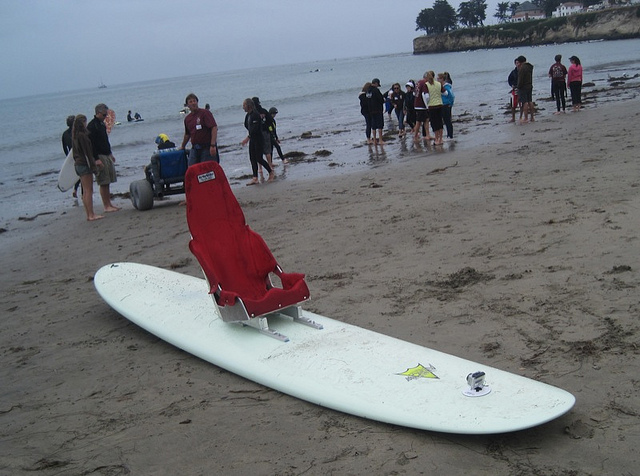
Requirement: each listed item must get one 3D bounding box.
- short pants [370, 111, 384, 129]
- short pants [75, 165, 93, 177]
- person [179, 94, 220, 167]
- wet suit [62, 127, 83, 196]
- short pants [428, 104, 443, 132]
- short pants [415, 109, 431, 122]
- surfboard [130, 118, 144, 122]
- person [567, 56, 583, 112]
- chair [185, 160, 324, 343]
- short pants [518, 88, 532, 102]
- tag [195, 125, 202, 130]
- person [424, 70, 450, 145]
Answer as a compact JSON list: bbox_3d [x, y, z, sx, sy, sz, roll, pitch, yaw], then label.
[{"bbox_3d":[1.541,-3.285,16.543,0.331,0.520,0.550,-8,15,6],"label":"short pants"},{"bbox_3d":[-4.573,-1.336,11.692,0.266,0.180,0.186,-1,36,-6],"label":"short pants"},{"bbox_3d":[-2.301,-2.065,11.438,0.727,1.361,1.550,-12,15,-9],"label":"person"},{"bbox_3d":[-5.237,-1.648,12.854,0.416,2.029,0.238,-21,-21,39],"label":"wet suit"},{"bbox_3d":[2.910,-3.066,15.212,0.365,0.674,0.415,-5,15,15],"label":"short pants"},{"bbox_3d":[2.719,-3.335,16.213,0.281,0.363,0.348,-6,15,14],"label":"short pants"},{"bbox_3d":[-12.531,-8.267,41.769,0.757,0.193,1.609,-13,15,-13],"label":"surfboard"},{"bbox_3d":[7.226,-4.459,17.254,0.373,1.531,1.230,-3,16,22],"label":"person"},{"bbox_3d":[-0.823,0.125,6.795,1.206,1.629,1.712,-14,23,-41],"label":"chair"},{"bbox_3d":[5.485,-3.905,16.281,0.391,0.476,0.282,-4,20,-7],"label":"short pants"},{"bbox_3d":[-2.264,-2.106,11.308,0.096,0.088,0.023,-2,5,-1],"label":"tag"},{"bbox_3d":[2.901,-3.286,15.076,0.543,1.838,1.091,-8,15,5],"label":"person"}]
